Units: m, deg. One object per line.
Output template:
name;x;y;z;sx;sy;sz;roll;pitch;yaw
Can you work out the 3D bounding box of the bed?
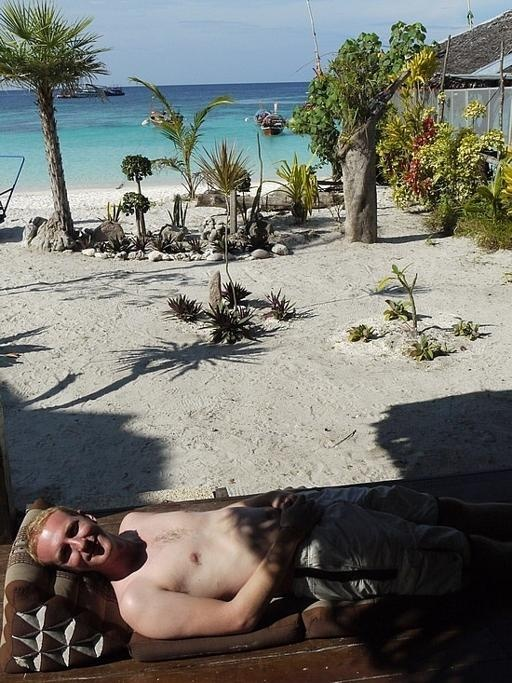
bed;-0.095;0.833;2.130;1.095;0.261;0.857;-10;8;-3
